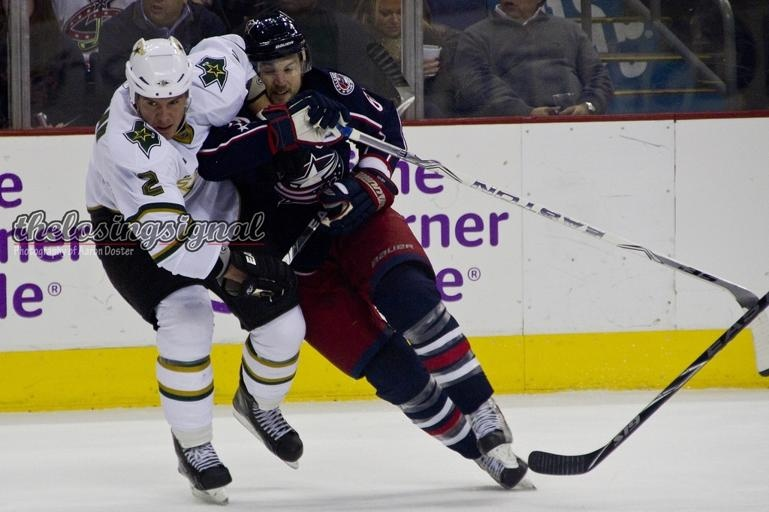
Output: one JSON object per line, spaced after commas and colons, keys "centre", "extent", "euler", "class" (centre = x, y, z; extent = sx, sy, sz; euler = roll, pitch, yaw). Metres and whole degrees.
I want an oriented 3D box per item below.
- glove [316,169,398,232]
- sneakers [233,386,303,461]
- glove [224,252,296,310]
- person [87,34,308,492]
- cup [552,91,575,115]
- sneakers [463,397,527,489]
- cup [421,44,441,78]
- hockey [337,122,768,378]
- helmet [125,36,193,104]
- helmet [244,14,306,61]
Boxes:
{"centre": [-0.132, -0.249, 5.328], "extent": [0.365, 0.231, 0.156], "euler": [-32, -5, -15], "class": "glove"}
{"centre": [-0.600, 0.869, 5.652], "extent": [0.121, 0.186, 0.401], "euler": [-36, 63, -16], "class": "sneakers"}
{"centre": [-0.578, 0.094, 5.165], "extent": [0.343, 0.279, 0.139], "euler": [-3, 12, -5], "class": "glove"}
{"centre": [-0.875, 0.048, 5.263], "extent": [0.950, 2.140, 0.646], "euler": [-6, 13, -15], "class": "person"}
{"centre": [1.110, -0.947, 6.833], "extent": [0.132, 0.137, 0.127], "euler": [-2, -5, 0], "class": "cup"}
{"centre": [0.551, 0.888, 5.204], "extent": [0.285, 0.429, 0.155], "euler": [-2, 12, 3], "class": "sneakers"}
{"centre": [0.295, -1.199, 6.719], "extent": [0.150, 0.159, 0.161], "euler": [0, 3, 0], "class": "cup"}
{"centre": [1.031, 0.021, 6.269], "extent": [3.176, 0.096, 0.448], "euler": [23, 55, 11], "class": "hockey"}
{"centre": [-1.043, -0.863, 5.161], "extent": [0.294, 0.348, 0.379], "euler": [-10, 38, -20], "class": "helmet"}
{"centre": [-0.537, -1.045, 5.306], "extent": [0.214, 0.219, 0.258], "euler": [-21, 2, -20], "class": "helmet"}
